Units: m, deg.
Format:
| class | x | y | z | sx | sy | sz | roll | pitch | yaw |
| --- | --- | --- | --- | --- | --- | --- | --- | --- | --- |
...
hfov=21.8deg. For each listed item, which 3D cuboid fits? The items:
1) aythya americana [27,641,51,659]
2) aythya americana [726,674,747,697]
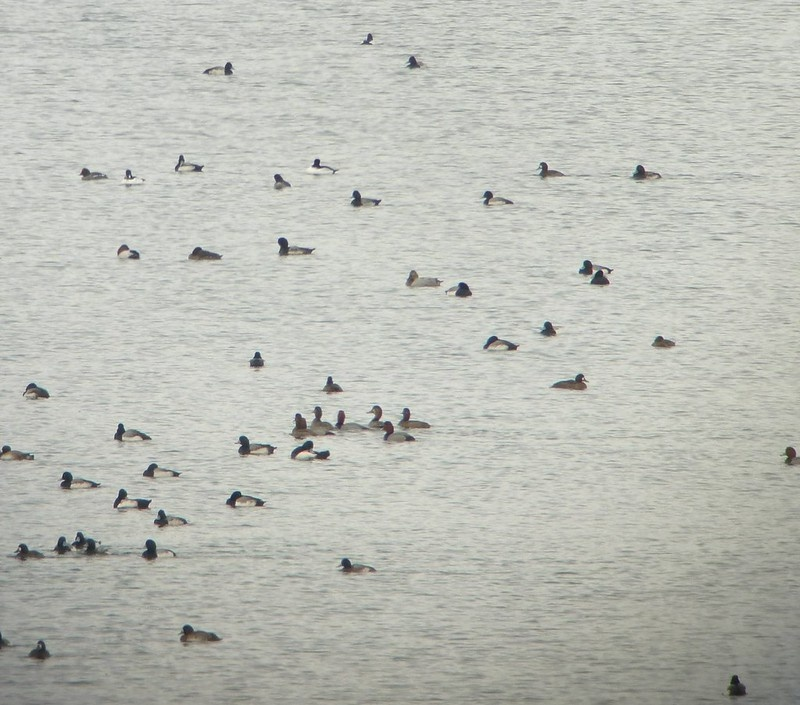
| class | x | y | z | sx | sy | sz | roll | pitch | yaw |
| --- | --- | --- | --- | --- | --- | --- | --- | --- | --- |
| aythya americana | -15.038 | 12.299 | 85.791 | 0.889 | 0.792 | 0.963 | 8 | 6 | -17 |
| aythya americana | 13.522 | 13.356 | 83.219 | 0.776 | 0.833 | 0.457 | -4 | -7 | 2 |
